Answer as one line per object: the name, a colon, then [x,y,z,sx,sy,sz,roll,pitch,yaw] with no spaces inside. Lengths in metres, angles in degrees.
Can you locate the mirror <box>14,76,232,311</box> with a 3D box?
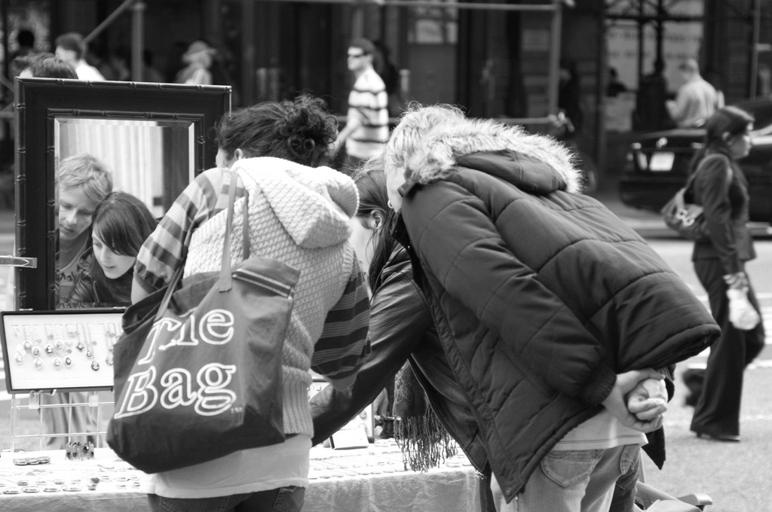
mirror: [-1.845,-0.413,11.686,1.644,1.873,0.185,0,7,-23]

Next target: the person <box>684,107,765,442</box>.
person: [2.819,0.156,14.006,0.676,2.734,0.430,1,6,9]

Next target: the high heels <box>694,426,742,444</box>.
high heels: [2.766,1.510,14.052,0.369,0.159,0.129,-9,-1,30]
